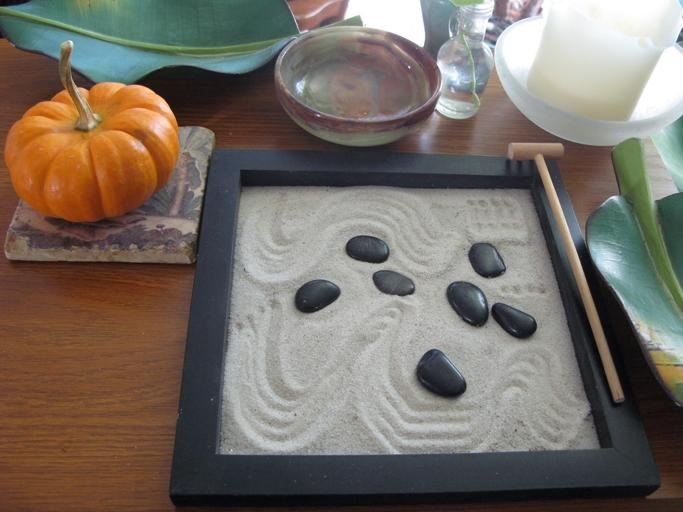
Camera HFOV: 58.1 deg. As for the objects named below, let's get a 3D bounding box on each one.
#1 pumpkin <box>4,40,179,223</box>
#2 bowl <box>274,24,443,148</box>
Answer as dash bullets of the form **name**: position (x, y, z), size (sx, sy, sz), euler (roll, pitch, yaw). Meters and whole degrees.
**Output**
- **pumpkin**: position (-0.294, -0.146, 0.886), size (0.228, 0.213, 0.223), euler (-4, 49, -3)
- **bowl**: position (0.031, -0.314, 1.034), size (0.240, 0.255, 0.091), euler (21, 76, 19)
